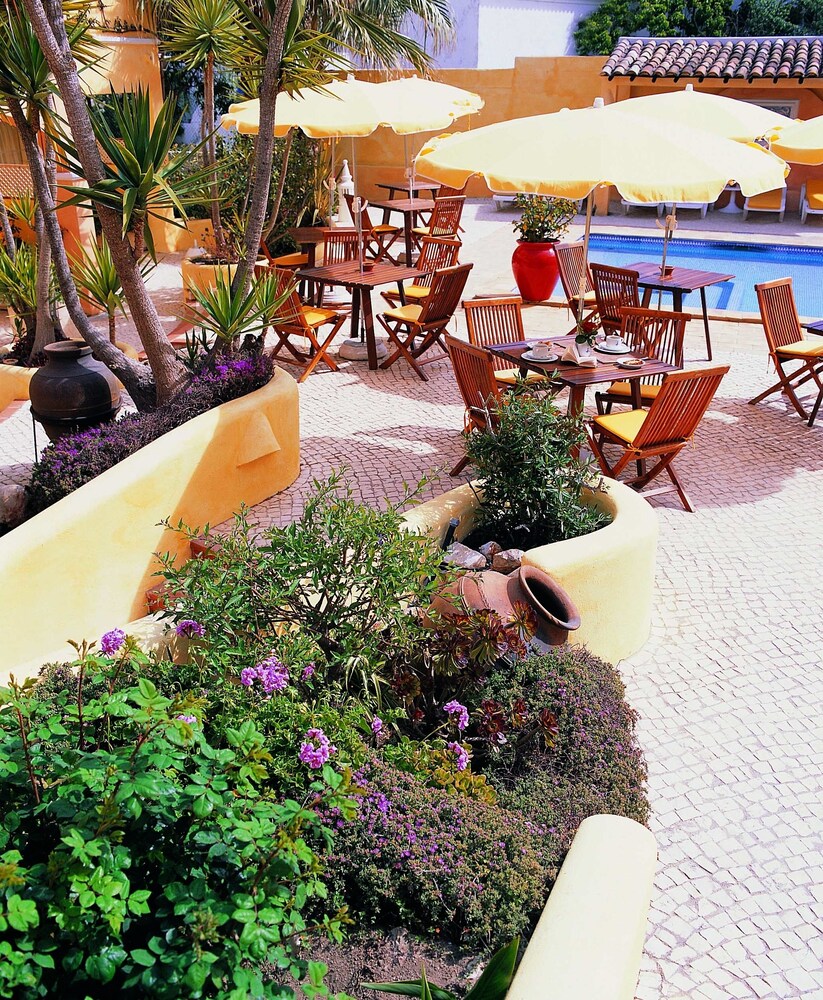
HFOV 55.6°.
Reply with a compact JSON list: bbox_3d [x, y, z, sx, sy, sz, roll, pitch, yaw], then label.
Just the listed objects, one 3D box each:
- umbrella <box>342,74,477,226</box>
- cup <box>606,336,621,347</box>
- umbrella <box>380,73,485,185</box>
[{"bbox_3d":[-0.107,-4.370,9.864,1.619,1.455,1.637,-27,49,-29],"label":"umbrella"},{"bbox_3d":[1.757,-1.381,6.818,0.101,0.065,0.102,-1,26,1],"label":"cup"},{"bbox_3d":[0.193,-4.390,9.733,1.479,1.181,1.341,-2,46,-5],"label":"umbrella"}]
